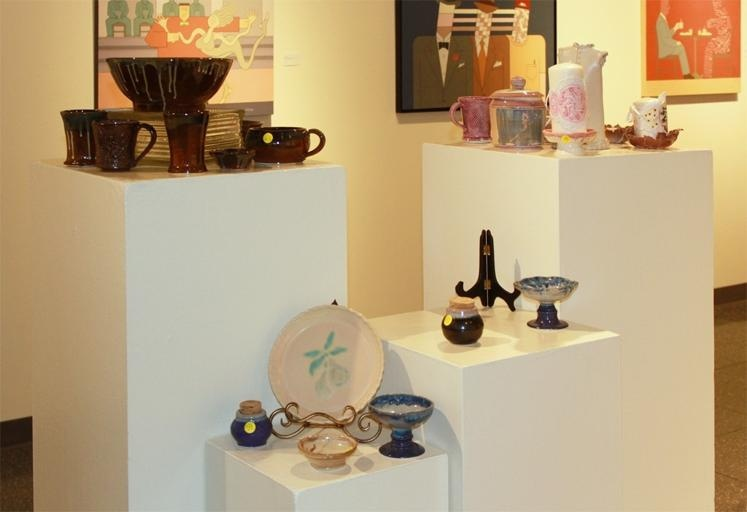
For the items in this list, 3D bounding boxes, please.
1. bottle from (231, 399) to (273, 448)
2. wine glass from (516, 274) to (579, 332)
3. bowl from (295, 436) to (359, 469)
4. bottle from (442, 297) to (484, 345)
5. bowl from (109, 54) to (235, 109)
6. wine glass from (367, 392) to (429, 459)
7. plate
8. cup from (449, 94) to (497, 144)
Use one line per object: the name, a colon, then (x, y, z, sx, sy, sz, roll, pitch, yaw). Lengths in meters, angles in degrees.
bottle: (-0.378, 0.515, 2.041, 0.124, 0.129, 0.127, -1, -1, 7)
wine glass: (0.599, 0.140, 2.308, 0.182, 0.135, 0.189, 3, 7, 43)
bowl: (-0.146, 0.592, 1.949, 0.189, 0.074, 0.199, 2, -22, 1)
bottle: (0.287, 0.215, 2.238, 0.141, 0.148, 0.144, -5, 11, -21)
bowl: (-0.642, -0.550, 2.106, 0.230, 0.098, 0.232, 0, 8, 0)
wine glass: (0.074, 0.487, 1.998, 0.173, 0.141, 0.162, 1, 1, -27)
plate: (-0.147, 0.341, 2.074, 0.358, 0.342, 0.189, -5, 11, -10)
cup: (0.434, -0.614, 3.035, 0.204, 0.213, 0.140, -5, 12, -16)
